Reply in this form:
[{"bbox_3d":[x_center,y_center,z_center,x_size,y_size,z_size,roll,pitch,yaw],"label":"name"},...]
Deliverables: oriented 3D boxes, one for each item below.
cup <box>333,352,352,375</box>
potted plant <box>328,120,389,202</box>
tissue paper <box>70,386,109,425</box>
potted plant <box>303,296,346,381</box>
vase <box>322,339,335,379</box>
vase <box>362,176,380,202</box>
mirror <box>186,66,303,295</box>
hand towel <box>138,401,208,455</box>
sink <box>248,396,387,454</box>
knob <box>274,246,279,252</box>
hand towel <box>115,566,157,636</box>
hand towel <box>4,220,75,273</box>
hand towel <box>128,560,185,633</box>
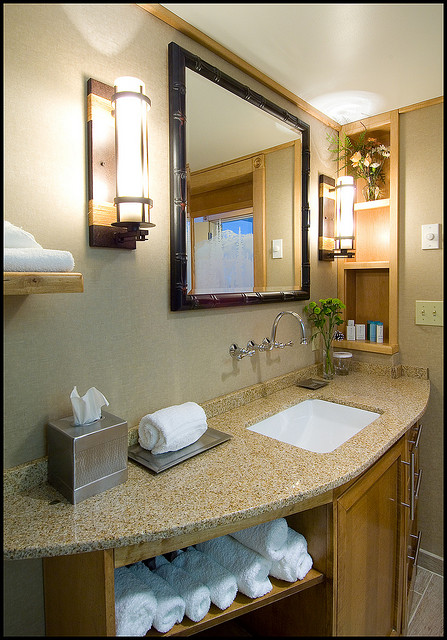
[{"bbox_3d":[0.562,0.203,2.151,0.084,0.106,0.091,0,-2,0],"label":"cup"},{"bbox_3d":[0.735,-0.761,2.254,0.263,0.323,0.225,-11,15,-14],"label":"potted plant"},{"bbox_3d":[-0.311,0.202,1.054,0.060,0.085,0.068,15,13,35],"label":"tissue paper"},{"bbox_3d":[0.524,0.068,2.242,0.170,0.369,0.427,2,7,25],"label":"potted plant"},{"bbox_3d":[0.505,0.171,2.183,0.054,0.182,0.198,0,7,12],"label":"vase"},{"bbox_3d":[0.744,-0.659,2.280,0.082,0.125,0.130,1,7,17],"label":"vase"},{"bbox_3d":[0.065,-0.530,1.669,0.035,0.847,0.768,3,6,37],"label":"mirror"},{"bbox_3d":[-0.141,0.299,1.261,0.114,0.115,0.176,4,9,40],"label":"hand towel"},{"bbox_3d":[0.317,0.395,1.686,0.472,0.153,0.245,-3,7,-9],"label":"sink"},{"bbox_3d":[0.219,-0.297,1.871,0.014,0.023,0.029,3,5,22],"label":"knob"},{"bbox_3d":[-0.194,0.636,0.999,0.085,0.082,0.117,-3,7,-14],"label":"hand towel"},{"bbox_3d":[-0.382,-0.132,0.918,0.107,0.045,0.114,5,6,43],"label":"hand towel"},{"bbox_3d":[-0.142,0.650,1.110,0.125,0.131,0.140,0,9,-44],"label":"hand towel"}]
